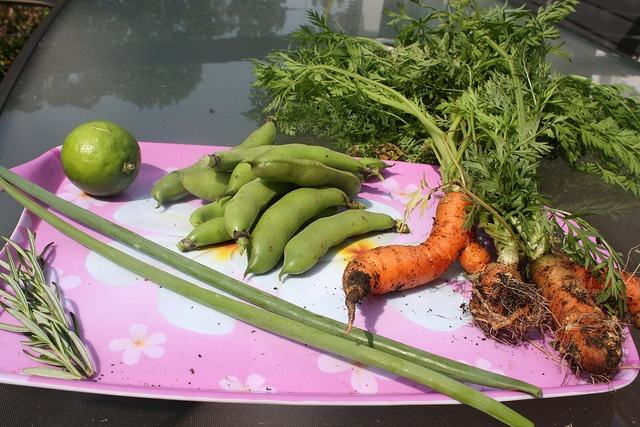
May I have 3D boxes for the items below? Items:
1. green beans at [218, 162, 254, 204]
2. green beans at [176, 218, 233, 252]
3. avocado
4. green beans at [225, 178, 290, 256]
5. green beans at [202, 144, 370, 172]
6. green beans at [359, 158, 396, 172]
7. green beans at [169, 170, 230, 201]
[{"bbox_3d":[-0.410,-0.161,2.782,0.179,0.187,0.162,-2,18,1],"label":"green beans"},{"bbox_3d":[-0.560,0.114,2.753,0.329,0.121,0.112,-23,4,-24],"label":"green beans"},{"bbox_3d":[-1.093,-0.313,2.837,0.577,0.378,0.359,-10,22,-38],"label":"avocado"},{"bbox_3d":[-0.312,-0.017,2.723,0.149,0.113,0.469,-1,35,27],"label":"green beans"},{"bbox_3d":[-0.194,-0.283,2.877,0.692,0.137,0.135,3,41,-13],"label":"green beans"},{"bbox_3d":[0.333,-0.275,3.159,0.200,0.069,0.063,11,10,-22],"label":"green beans"},{"bbox_3d":[-0.613,-0.136,2.832,0.252,0.092,0.132,2,57,-17],"label":"green beans"}]
